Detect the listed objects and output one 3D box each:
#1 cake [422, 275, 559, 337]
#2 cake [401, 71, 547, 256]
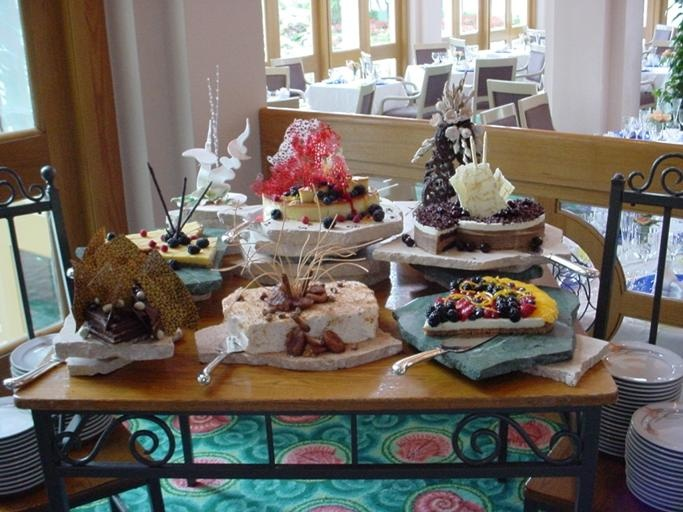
[{"bbox_3d":[0.340,0.119,1.270,0.200,0.042,0.171,-12,15,-26],"label":"cake"},{"bbox_3d":[0.386,-0.268,1.605,0.379,0.466,0.400,1,16,19],"label":"cake"}]
